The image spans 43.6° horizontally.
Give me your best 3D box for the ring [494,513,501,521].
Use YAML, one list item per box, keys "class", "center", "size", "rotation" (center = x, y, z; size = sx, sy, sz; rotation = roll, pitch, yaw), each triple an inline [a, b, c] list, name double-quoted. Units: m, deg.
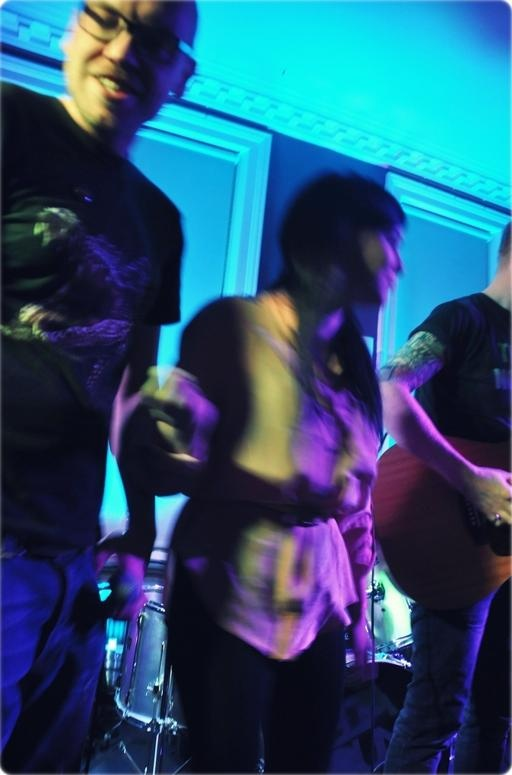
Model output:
- class: "ring"
  center: [0.600, 0.323, 1.588]
  size: [0.011, 0.018, 0.004]
  rotation: [-5, -25, 4]
